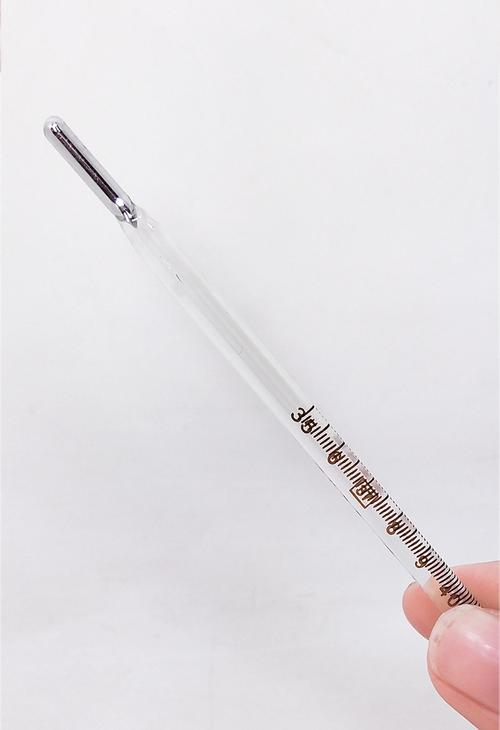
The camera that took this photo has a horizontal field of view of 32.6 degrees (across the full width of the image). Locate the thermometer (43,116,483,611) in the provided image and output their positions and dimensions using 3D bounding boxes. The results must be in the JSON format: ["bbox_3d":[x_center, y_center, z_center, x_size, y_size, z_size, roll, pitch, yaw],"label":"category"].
[{"bbox_3d":[0.022,0.028,0.873,0.042,0.199,0.669,-35,-60,26],"label":"thermometer"}]
